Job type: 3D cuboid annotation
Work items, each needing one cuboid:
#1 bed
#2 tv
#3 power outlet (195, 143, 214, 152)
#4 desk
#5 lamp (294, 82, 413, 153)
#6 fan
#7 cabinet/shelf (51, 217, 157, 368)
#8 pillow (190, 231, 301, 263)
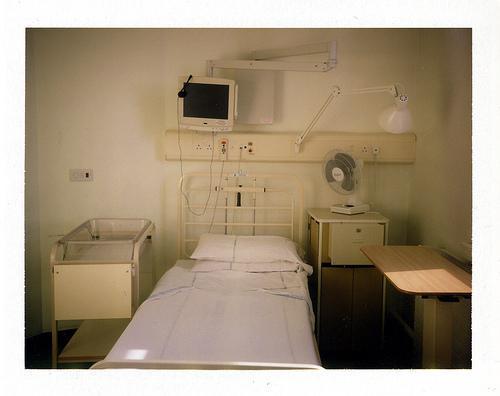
[{"bbox_3d":[-0.123,0.406,2.749,0.838,1.004,1.545,0,11,4],"label":"bed"},{"bbox_3d":[-0.271,-0.685,3.266,0.583,0.596,0.333,1,8,1],"label":"tv"},{"bbox_3d":[-0.369,-0.408,3.361,0.143,0.062,0.006,2,6,0],"label":"power outlet"},{"bbox_3d":[0.986,0.659,2.500,0.393,0.558,0.797,-2,13,2],"label":"desk"},{"bbox_3d":[0.831,-0.632,3.275,0.742,0.516,0.219,10,41,24],"label":"lamp"},{"bbox_3d":[0.752,-0.119,3.230,0.319,0.489,0.337,-3,12,6],"label":"fan"},{"bbox_3d":[-1.007,0.651,2.904,0.565,0.896,0.632,1,6,-4],"label":"cabinet/shelf"},{"bbox_3d":[-0.025,0.383,3.098,0.504,0.093,0.335,-1,12,-1],"label":"pillow"}]
